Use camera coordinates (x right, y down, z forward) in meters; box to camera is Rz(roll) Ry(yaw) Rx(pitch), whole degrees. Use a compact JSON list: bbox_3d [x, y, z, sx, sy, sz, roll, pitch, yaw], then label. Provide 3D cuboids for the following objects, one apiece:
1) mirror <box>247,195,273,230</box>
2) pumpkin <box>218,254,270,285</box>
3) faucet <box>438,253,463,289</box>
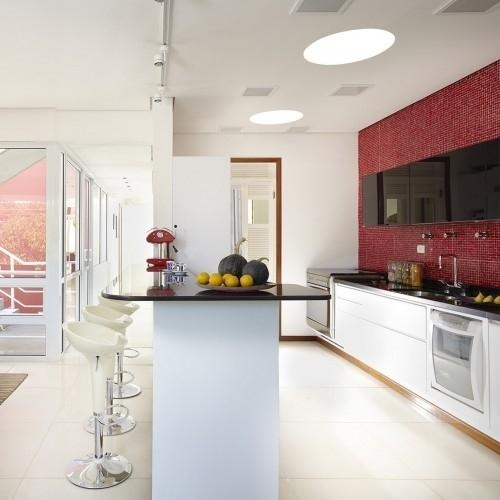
[{"bbox_3d":[0.125,-0.517,6.202,0.538,0.532,0.046,0,4,1],"label":"mirror"},{"bbox_3d":[-0.024,0.107,2.549,0.266,0.115,0.156,7,0,30],"label":"pumpkin"},{"bbox_3d":[1.766,0.186,3.963,0.284,0.304,0.225,-2,3,-24],"label":"faucet"}]
